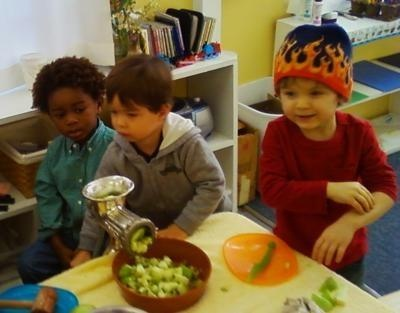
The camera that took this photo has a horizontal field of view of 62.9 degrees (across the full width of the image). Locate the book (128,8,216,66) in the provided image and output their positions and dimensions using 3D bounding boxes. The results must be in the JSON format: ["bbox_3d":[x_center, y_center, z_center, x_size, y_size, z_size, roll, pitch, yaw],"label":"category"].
[{"bbox_3d":[-0.129,-0.672,1.831,0.313,0.153,0.420,-9,20,-30],"label":"book"}]

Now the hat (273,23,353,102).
[{"bbox_3d":[0.320,-0.254,0.916,0.212,0.203,0.106,3,28,13],"label":"hat"}]

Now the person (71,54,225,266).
[{"bbox_3d":[-0.220,0.028,1.257,0.637,0.809,0.473,-8,26,-19],"label":"person"}]
